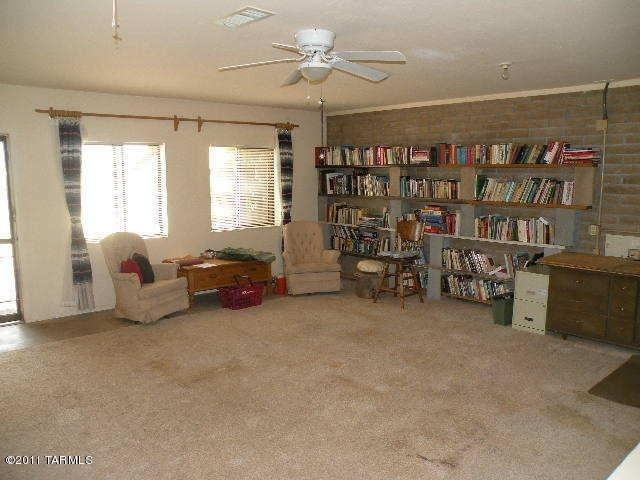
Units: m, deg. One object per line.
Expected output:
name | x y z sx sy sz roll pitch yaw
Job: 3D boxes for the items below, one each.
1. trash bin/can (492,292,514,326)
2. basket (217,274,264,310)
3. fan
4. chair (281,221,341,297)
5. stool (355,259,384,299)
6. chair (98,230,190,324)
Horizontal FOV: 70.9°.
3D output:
trash bin/can | 2.498 0.933 6.046 0.312 0.407 0.200 -10 17 -34
basket | -1.188 0.801 7.019 0.677 0.483 0.472 -5 7 -35
fan | -0.082 -1.669 4.095 0.938 0.209 0.851 0 2 2
chair | 0.081 0.303 7.971 1.278 1.236 1.244 -1 1 -14
stool | 0.901 0.633 7.394 0.611 0.527 0.594 3 7 21
chair | -2.591 0.452 6.710 1.435 1.363 1.244 4 8 20
